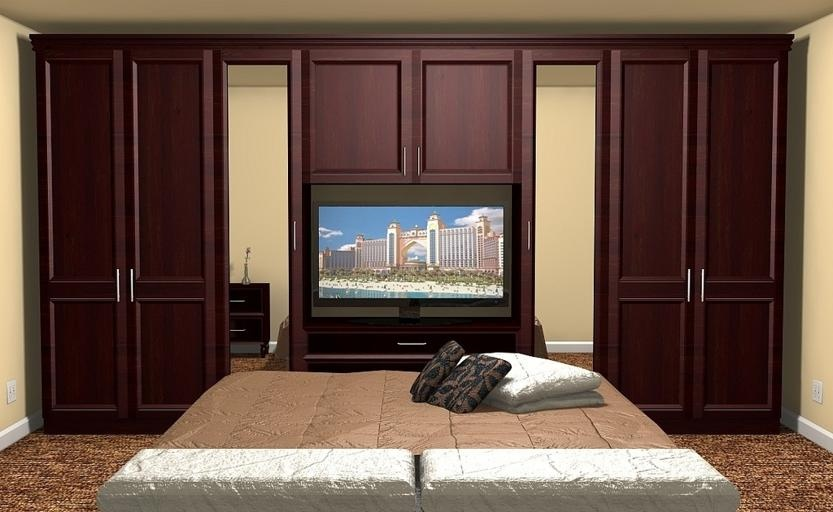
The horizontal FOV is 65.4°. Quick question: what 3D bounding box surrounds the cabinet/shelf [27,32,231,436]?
[{"bbox_3d":[-2.444,-0.189,5.560,1.690,3.369,0.375,-2,8,2],"label":"cabinet/shelf"}]
